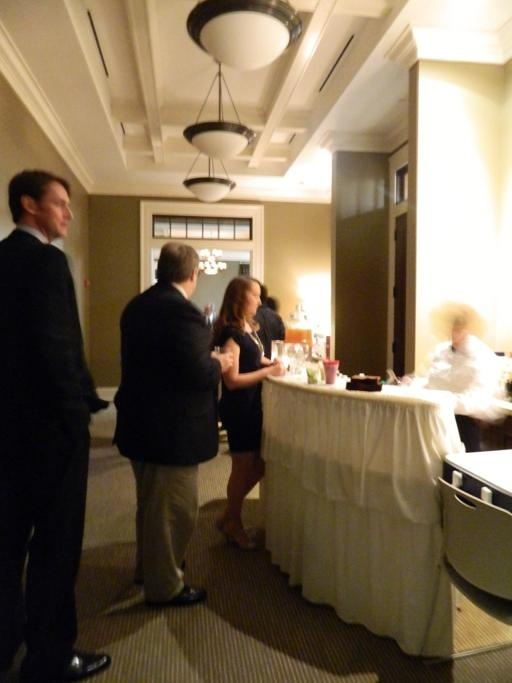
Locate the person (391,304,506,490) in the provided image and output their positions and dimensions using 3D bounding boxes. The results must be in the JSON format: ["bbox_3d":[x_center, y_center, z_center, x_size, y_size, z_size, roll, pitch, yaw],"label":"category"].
[{"bbox_3d":[1.141,0.366,3.162,0.534,1.523,0.723,7,-8,-14],"label":"person"}]

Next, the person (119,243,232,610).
[{"bbox_3d":[-0.368,0.353,2.057,0.442,1.506,0.342,0,2,-6],"label":"person"}]

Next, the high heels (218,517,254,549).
[{"bbox_3d":[-0.119,1.000,2.726,0.089,0.129,0.247,5,6,-42],"label":"high heels"}]
